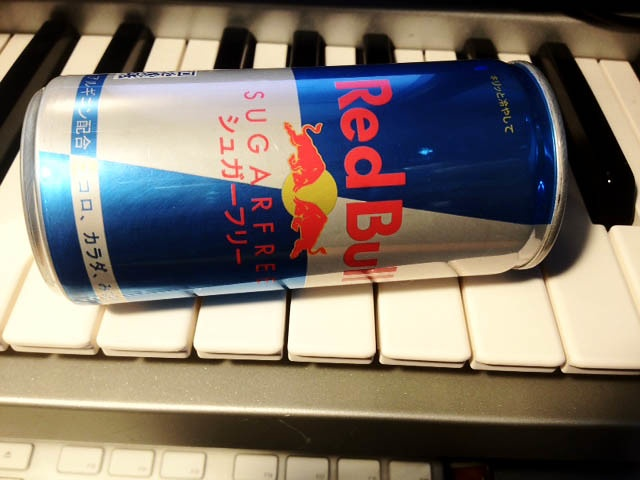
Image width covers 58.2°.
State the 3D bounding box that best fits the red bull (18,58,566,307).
[{"bbox_3d":[-0.039,-0.081,0.842,0.681,0.286,0.293,-2,28,-1],"label":"red bull"}]

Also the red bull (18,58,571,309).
[{"bbox_3d":[-0.047,-0.079,0.842,0.682,0.286,0.293,-3,28,-1],"label":"red bull"}]
